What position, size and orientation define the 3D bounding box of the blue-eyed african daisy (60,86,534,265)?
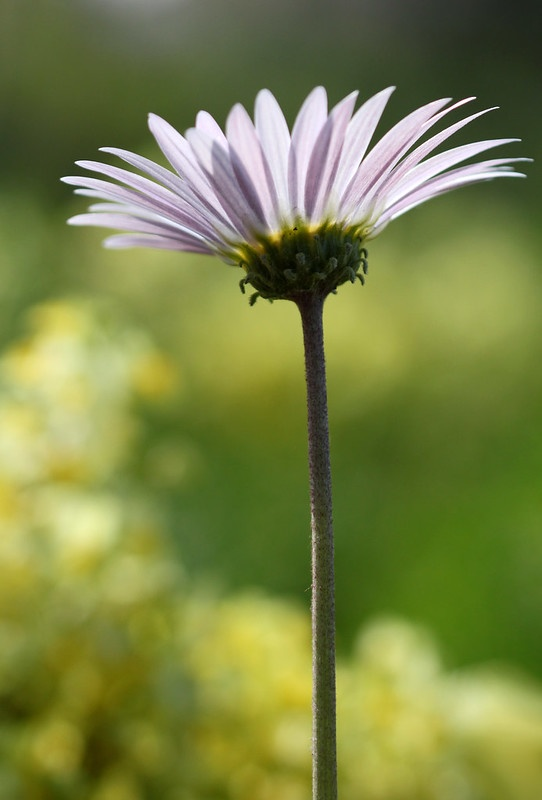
[{"bbox_3d":[0.011,-0.106,0.439,0.188,0.058,0.183,-7,-3,-26],"label":"blue-eyed african daisy"}]
